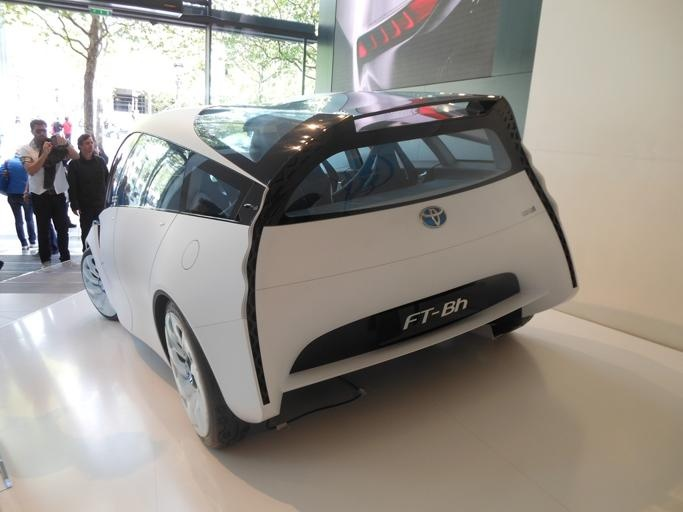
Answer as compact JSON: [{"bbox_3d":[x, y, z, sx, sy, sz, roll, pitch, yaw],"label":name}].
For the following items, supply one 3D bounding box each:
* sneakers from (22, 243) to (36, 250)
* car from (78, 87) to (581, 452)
[{"bbox_3d":[-4.646,-0.139,6.547,0.077,0.106,0.242,0,-4,-5],"label":"sneakers"},{"bbox_3d":[-0.474,-0.357,2.769,1.547,1.089,2.450,-19,31,-23],"label":"car"}]
